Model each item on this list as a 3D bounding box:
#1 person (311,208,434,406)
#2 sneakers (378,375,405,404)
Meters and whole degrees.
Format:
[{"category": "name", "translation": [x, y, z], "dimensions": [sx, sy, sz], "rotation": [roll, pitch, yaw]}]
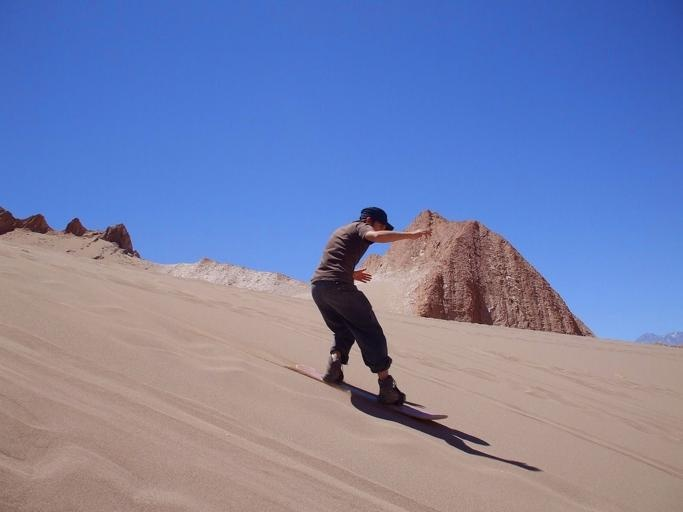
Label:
[{"category": "person", "translation": [0.117, 0.362, 3.952], "dimensions": [0.685, 1.537, 1.104], "rotation": [3, 13, -45]}, {"category": "sneakers", "translation": [0.376, 1.055, 3.844], "dimensions": [0.265, 0.232, 0.153], "rotation": [0, -6, -9]}]
